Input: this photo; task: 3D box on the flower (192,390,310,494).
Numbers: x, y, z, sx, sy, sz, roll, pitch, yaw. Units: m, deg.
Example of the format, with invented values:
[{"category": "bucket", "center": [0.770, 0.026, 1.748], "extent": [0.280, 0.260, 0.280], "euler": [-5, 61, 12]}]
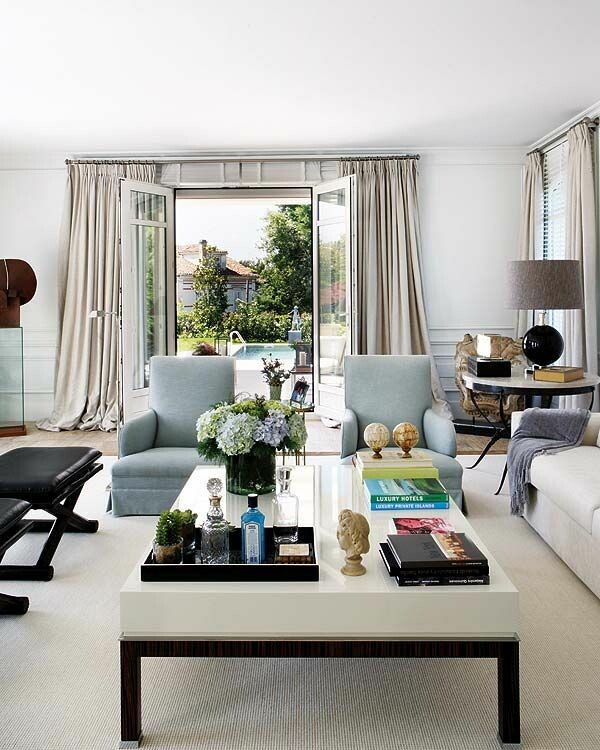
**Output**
[{"category": "flower", "center": [-0.175, 0.231, 2.316], "extent": [0.377, 0.305, 0.367], "euler": [0, -1, -8]}]

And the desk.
[{"category": "desk", "center": [1.394, 0.244, 3.824], "extent": [0.804, 0.640, 0.870], "euler": [-1, 4, -5]}]

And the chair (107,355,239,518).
[{"category": "chair", "center": [-0.599, 0.323, 3.302], "extent": [0.712, 0.800, 0.730], "euler": [1, 3, 8]}]

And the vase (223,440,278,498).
[{"category": "vase", "center": [-0.179, 0.353, 2.283], "extent": [0.189, 0.199, 0.197], "euler": [0, -4, 0]}]

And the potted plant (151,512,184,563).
[{"category": "potted plant", "center": [-0.338, 0.425, 1.581], "extent": [0.108, 0.119, 0.106], "euler": [1, -2, -8]}]

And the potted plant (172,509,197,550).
[{"category": "potted plant", "center": [-0.304, 0.415, 1.655], "extent": [0.087, 0.101, 0.100], "euler": [0, 1, -2]}]

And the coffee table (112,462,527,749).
[{"category": "coffee table", "center": [0.056, 0.632, 1.808], "extent": [0.935, 0.384, 0.844], "euler": [0, 4, 1]}]

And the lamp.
[{"category": "lamp", "center": [1.459, -0.351, 3.669], "extent": [0.388, 0.641, 0.341], "euler": [2, 5, 28]}]

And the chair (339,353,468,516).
[{"category": "chair", "center": [0.529, 0.312, 3.263], "extent": [0.647, 0.804, 0.720], "euler": [0, 5, 8]}]
